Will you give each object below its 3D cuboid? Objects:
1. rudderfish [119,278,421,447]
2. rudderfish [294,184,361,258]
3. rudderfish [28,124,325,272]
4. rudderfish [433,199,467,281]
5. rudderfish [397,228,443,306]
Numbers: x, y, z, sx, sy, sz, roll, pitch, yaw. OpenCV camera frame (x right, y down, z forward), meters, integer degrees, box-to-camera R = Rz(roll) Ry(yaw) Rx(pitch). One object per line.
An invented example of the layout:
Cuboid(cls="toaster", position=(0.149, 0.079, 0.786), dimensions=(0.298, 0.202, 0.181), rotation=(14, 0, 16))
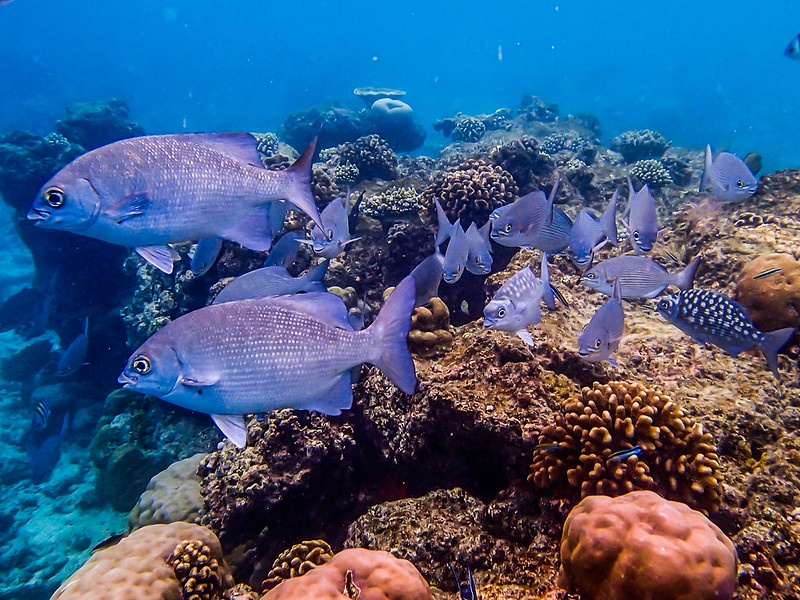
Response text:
Cuboid(cls="rudderfish", position=(-2.060, 1.063, 11.041), dimensions=(4.748, 2.561, 1.021), rotation=(-3, 15, -4))
Cuboid(cls="rudderfish", position=(-1.229, -1.534, 13.811), dimensions=(0.959, 1.072, 2.083), rotation=(-5, 24, 22))
Cuboid(cls="rudderfish", position=(-3.630, -1.645, 11.031), dimensions=(4.161, 1.831, 0.980), rotation=(-8, 31, -6))
Cuboid(cls="rudderfish", position=(0.896, -1.006, 12.690), dimensions=(0.493, 1.630, 0.564), rotation=(-6, 17, -21))
Cuboid(cls="rudderfish", position=(0.477, -0.420, 12.273), dimensions=(0.445, 1.124, 0.473), rotation=(-15, 20, -40))
